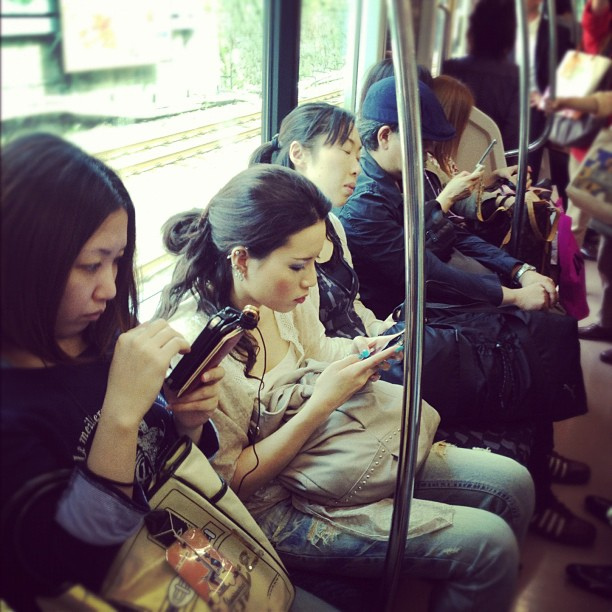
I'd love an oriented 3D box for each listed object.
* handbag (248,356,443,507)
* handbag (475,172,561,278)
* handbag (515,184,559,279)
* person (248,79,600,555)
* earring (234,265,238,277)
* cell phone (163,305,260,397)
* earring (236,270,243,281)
[{"bbox_3d":[0.080,0.282,1.190,0.328,0.298,0.327,3,17,25],"label":"handbag"},{"bbox_3d":[0.767,-0.312,2.320,0.360,0.512,0.426,9,24,19],"label":"handbag"},{"bbox_3d":[0.843,-0.266,2.088,0.140,0.282,0.273,0,20,19],"label":"handbag"},{"bbox_3d":[0.284,0.038,1.394,0.737,1.320,0.469,-6,44,20],"label":"person"},{"bbox_3d":[-0.143,-0.070,1.174,0.008,0.027,0.020,-6,15,-7],"label":"earring"},{"bbox_3d":[-0.162,0.083,0.984,0.058,0.202,0.146,32,4,19],"label":"cell phone"},{"bbox_3d":[-0.135,-0.060,1.175,0.006,0.016,0.015,-22,24,-37],"label":"earring"}]
